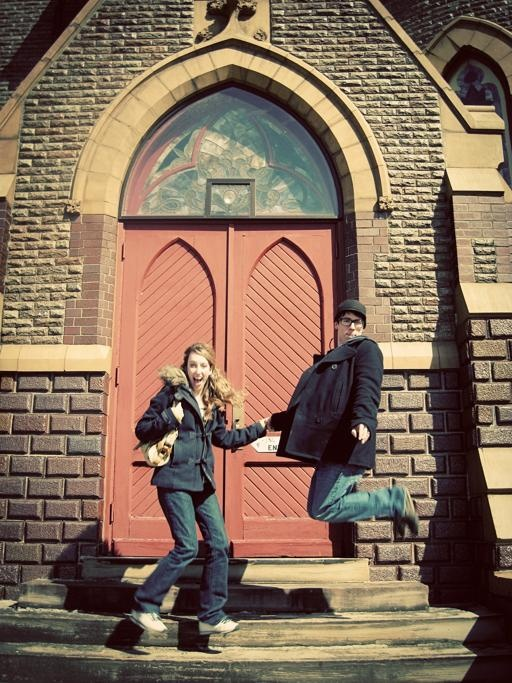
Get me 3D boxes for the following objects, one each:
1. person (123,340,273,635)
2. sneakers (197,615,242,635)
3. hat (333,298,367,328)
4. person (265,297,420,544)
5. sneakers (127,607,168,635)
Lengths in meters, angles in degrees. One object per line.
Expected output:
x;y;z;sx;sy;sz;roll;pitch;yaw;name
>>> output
-0.406;0.940;4.916;0.828;1.835;0.390;-1;-11;-15;person
-0.269;1.810;4.817;0.343;0.126;0.112;-1;-16;1;sneakers
0.660;-0.208;5.239;0.173;0.103;0.208;10;-22;8;hat
0.512;0.493;5.066;0.820;1.579;0.509;-12;-13;37;person
-0.665;1.754;4.744;0.300;0.101;0.111;1;5;32;sneakers
